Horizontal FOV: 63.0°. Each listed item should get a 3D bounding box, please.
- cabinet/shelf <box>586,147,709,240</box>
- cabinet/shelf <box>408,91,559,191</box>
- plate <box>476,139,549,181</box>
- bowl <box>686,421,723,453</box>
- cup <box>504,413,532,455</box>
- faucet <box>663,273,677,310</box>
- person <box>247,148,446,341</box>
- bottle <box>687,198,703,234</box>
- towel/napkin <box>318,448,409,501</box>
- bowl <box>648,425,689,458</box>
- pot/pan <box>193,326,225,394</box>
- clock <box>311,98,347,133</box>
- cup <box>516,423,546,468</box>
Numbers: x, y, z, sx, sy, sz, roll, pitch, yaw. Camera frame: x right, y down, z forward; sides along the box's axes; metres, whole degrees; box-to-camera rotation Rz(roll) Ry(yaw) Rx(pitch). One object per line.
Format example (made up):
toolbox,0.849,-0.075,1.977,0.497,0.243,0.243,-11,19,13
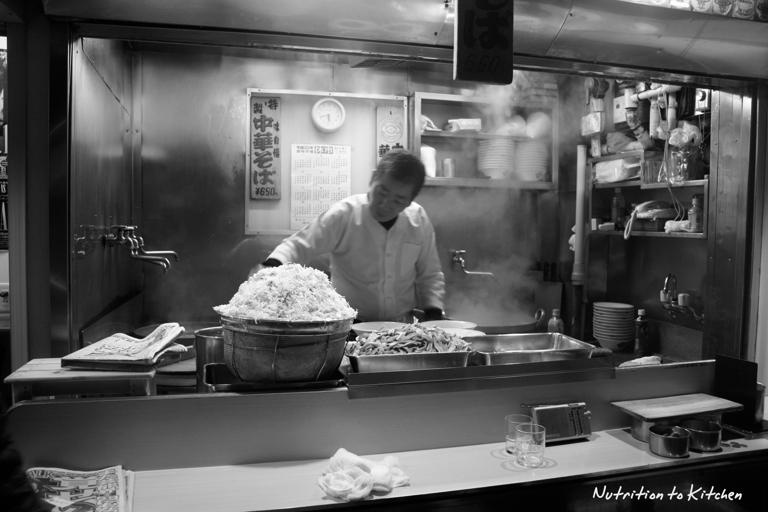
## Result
cabinet/shelf,2.130,-0.496,5.056,0.432,0.691,1.239,-1,6,-16
cabinet/shelf,0.903,-1.014,5.655,1.314,0.759,0.398,2,7,-4
plate,1.190,-0.867,5.708,0.477,0.276,0.413,2,1,3
bowl,1.730,0.972,3.380,0.161,0.103,0.169,-1,-1,0
cup,0.670,0.905,3.269,0.167,0.200,0.191,3,5,17
faucet,2.359,0.275,5.167,0.107,0.246,0.187,3,6,28
person,-0.109,-0.119,4.560,1.096,1.253,0.610,0,6,1
bottle,2.313,-0.304,4.642,0.081,0.263,0.102,-4,7,-38
towel/napkin,-0.096,1.054,3.008,0.316,0.115,0.224,-6,14,-29
bowl,1.512,0.976,3.325,0.159,0.098,0.162,-1,3,0
pot/pan,-0.965,0.588,3.461,0.147,0.309,0.490,-1,6,-17
clock,-0.514,-1.253,5.594,0.318,0.317,0.062,0,1,-14
cup,0.727,0.967,3.239,0.179,0.208,0.199,0,-2,8
